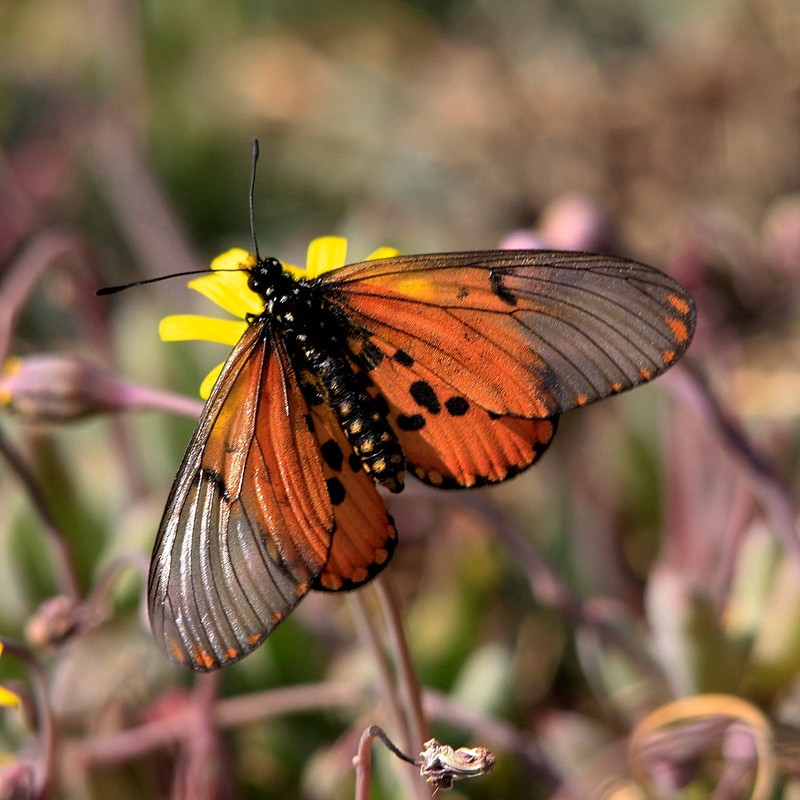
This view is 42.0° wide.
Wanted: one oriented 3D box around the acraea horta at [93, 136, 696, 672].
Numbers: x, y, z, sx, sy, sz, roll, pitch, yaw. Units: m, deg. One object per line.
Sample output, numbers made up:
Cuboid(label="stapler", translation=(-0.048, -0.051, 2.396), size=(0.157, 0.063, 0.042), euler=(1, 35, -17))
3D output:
Cuboid(label="acraea horta", translation=(0.021, 0.028, 0.732), size=(0.366, 0.232, 0.244), euler=(-2, 20, 13))
